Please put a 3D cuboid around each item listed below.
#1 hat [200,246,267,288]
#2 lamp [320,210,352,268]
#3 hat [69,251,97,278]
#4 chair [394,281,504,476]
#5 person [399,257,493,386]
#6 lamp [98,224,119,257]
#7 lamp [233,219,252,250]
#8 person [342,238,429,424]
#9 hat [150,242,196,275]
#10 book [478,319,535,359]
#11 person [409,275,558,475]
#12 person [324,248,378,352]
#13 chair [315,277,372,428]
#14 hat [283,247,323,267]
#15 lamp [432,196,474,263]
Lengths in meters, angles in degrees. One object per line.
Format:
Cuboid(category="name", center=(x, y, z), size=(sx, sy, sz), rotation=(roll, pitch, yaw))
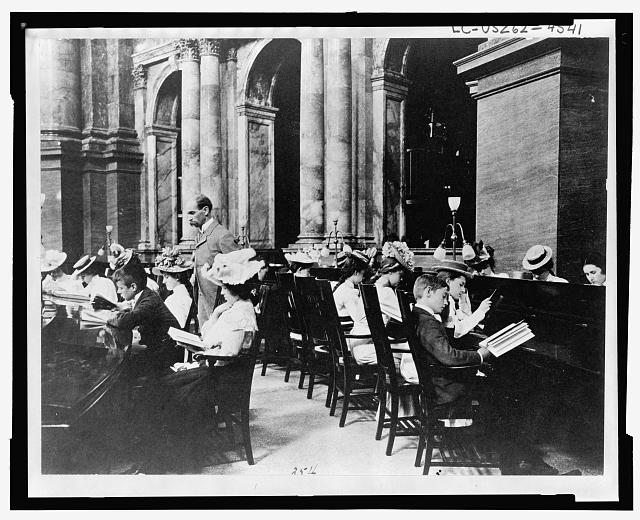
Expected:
Cuboid(category="hat", center=(-0.719, 0.056, 5.840), size=(0.336, 0.133, 0.350), rotation=(30, 59, 34))
Cuboid(category="lamp", center=(0.126, -0.137, 6.467), size=(0.239, 0.411, 0.268), rotation=(4, 7, -11))
Cuboid(category="hat", center=(-2.034, 0.036, 6.034), size=(0.165, 0.045, 0.166), rotation=(-36, 28, 17))
Cuboid(category="chair", center=(1.180, 0.898, 5.721), size=(0.666, 1.531, 0.821), rotation=(4, 4, 24))
Cuboid(category="person", center=(1.044, 0.306, 5.732), size=(0.725, 1.192, 0.813), rotation=(-9, 15, -10))
Cuboid(category="lamp", center=(-1.864, -0.183, 6.212), size=(0.212, 0.260, 0.208), rotation=(4, -1, -43))
Cuboid(category="lamp", center=(-0.664, -0.212, 6.146), size=(0.180, 0.277, 0.195), rotation=(0, -5, -4))
Cuboid(category="person", center=(0.624, 0.460, 6.132), size=(0.571, 1.140, 0.440), rotation=(2, 15, -14))
Cuboid(category="hat", center=(-1.273, -0.004, 6.121), size=(0.243, 0.120, 0.265), rotation=(1, 28, 10))
Cuboid(category="book", center=(1.500, 0.626, 5.637), size=(0.358, 0.280, 0.173), rotation=(-27, -15, 3))
Cuboid(category="person", center=(1.196, 0.818, 5.669), size=(0.943, 1.561, 0.731), rotation=(-4, 12, 16))
Cuboid(category="person", center=(0.307, 0.333, 6.376), size=(0.364, 0.844, 0.463), rotation=(16, 26, 30))
Cuboid(category="chair", center=(0.287, 0.956, 6.150), size=(0.527, 0.956, 0.506), rotation=(3, 1, -25))
Cuboid(category="hat", center=(-0.163, -0.028, 6.492), size=(0.317, 0.164, 0.102), rotation=(-1, 4, 3))
Cuboid(category="lamp", center=(1.130, -0.156, 5.966), size=(0.325, 0.757, 0.137), rotation=(-3, 16, 1))
